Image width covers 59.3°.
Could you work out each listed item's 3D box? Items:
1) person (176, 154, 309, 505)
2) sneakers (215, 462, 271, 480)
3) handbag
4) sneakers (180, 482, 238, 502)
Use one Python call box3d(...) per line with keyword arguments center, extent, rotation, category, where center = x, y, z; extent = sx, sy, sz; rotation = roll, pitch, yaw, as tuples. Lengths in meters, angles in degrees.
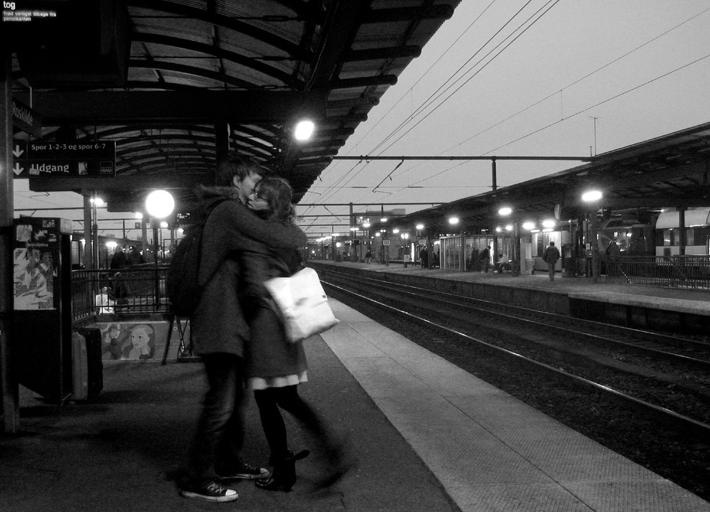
box3d(center=(-1.080, 0.578, 5.227), extent=(0.969, 2.845, 0.549), rotation=(3, 3, -12), category="person")
box3d(center=(-0.959, 1.852, 5.382), extent=(0.463, 0.200, 0.176), rotation=(0, -3, -11), category="sneakers")
box3d(center=(-0.429, 0.413, 5.119), extent=(0.577, 0.616, 0.209), rotation=(-21, -3, -23), category="handbag")
box3d(center=(-1.179, 1.931, 5.184), extent=(0.465, 0.201, 0.180), rotation=(2, -1, -1), category="sneakers")
